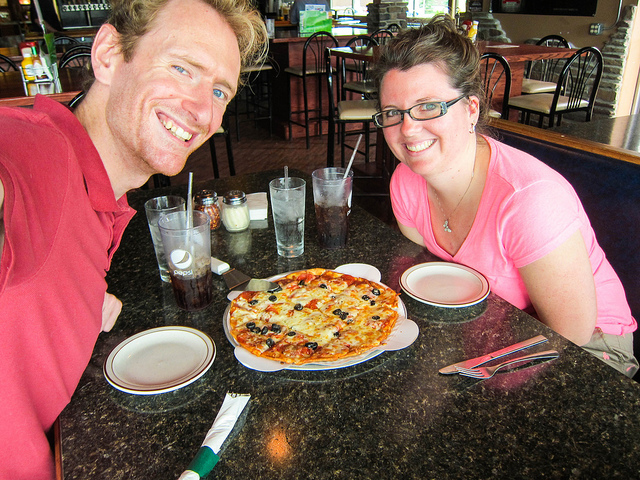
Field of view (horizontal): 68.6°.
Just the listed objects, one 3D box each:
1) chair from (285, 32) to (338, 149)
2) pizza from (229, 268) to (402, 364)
[{"bbox_3d":[-0.140,-1.881,5.847,0.621,1.294,1.365,-1,26,0],"label":"chair"},{"bbox_3d":[-0.012,0.185,1.201,0.436,0.050,0.353,-7,27,-13],"label":"pizza"}]
